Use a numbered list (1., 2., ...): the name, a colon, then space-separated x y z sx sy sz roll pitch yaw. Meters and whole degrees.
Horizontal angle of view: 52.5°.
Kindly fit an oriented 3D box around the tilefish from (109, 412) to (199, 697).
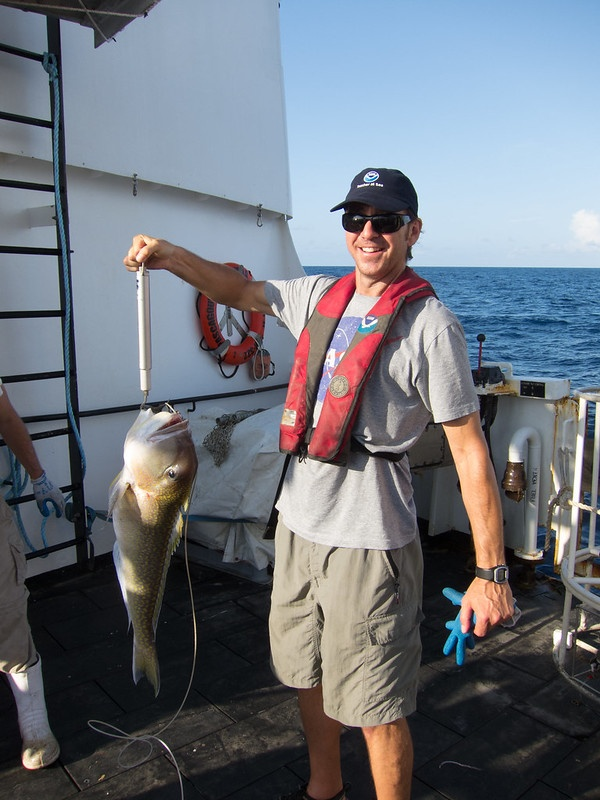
1. tilefish: -0.405 0.426 1.712 0.233 0.815 0.202 -2 8 -24

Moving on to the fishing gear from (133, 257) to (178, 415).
1. fishing gear: -0.537 -0.198 2.276 0.117 0.505 1.366 -1 7 -15

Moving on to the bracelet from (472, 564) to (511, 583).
1. bracelet: 0.515 0.462 1.631 0.076 0.046 0.078 -2 -7 -3
